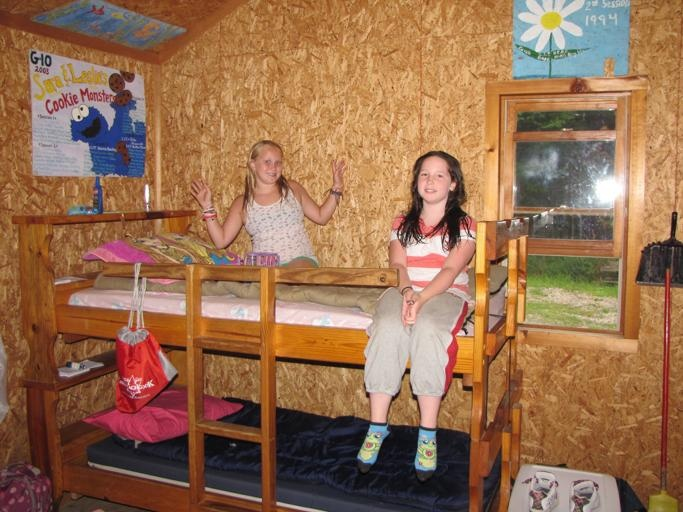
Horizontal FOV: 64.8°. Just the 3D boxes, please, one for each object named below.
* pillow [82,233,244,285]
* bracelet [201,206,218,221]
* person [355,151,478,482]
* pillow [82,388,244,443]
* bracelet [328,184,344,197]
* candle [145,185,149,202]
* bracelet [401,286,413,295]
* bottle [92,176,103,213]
[{"bbox_3d":[-1.224,-0.034,3.874,0.569,0.171,0.652,11,8,31],"label":"pillow"},{"bbox_3d":[-1.022,-0.322,4.215,0.104,0.104,0.108,-8,0,9],"label":"bracelet"},{"bbox_3d":[0.466,0.250,3.069,0.528,1.727,0.827,4,6,14],"label":"person"},{"bbox_3d":[-1.197,1.080,3.600,0.522,0.147,0.534,1,0,36],"label":"pillow"},{"bbox_3d":[-0.043,-0.513,4.255,0.082,0.058,0.084,8,-2,3],"label":"bracelet"},{"bbox_3d":[-1.572,-0.506,4.383,0.026,0.145,0.171,1,6,-14],"label":"candle"},{"bbox_3d":[0.355,0.198,2.952,0.045,0.035,0.047,-11,8,18],"label":"bracelet"},{"bbox_3d":[-1.820,-0.465,4.045,0.076,0.273,0.427,0,6,-24],"label":"bottle"}]
